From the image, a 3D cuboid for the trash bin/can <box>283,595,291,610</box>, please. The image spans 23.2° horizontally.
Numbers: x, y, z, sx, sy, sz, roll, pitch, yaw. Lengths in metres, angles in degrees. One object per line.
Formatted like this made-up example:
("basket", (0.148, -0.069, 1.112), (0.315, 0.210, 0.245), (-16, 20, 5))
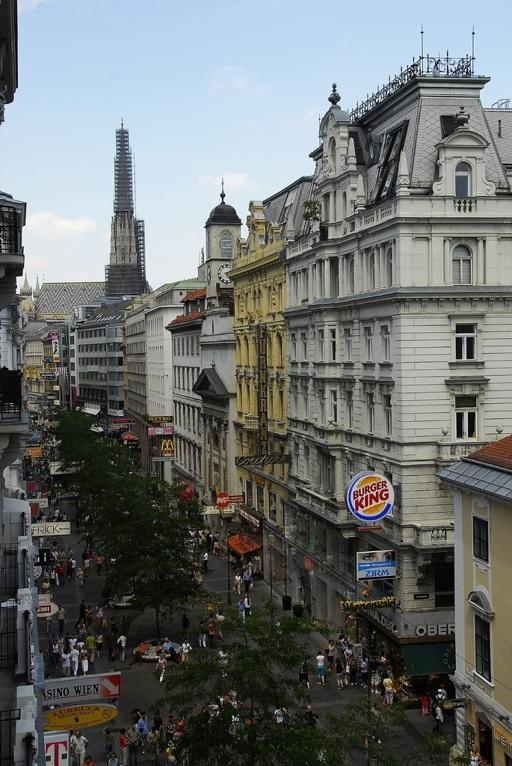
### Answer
("trash bin/can", (1.416, 10.183, 57.096), (0.512, 0.617, 0.545), (-2, 2, -15))
